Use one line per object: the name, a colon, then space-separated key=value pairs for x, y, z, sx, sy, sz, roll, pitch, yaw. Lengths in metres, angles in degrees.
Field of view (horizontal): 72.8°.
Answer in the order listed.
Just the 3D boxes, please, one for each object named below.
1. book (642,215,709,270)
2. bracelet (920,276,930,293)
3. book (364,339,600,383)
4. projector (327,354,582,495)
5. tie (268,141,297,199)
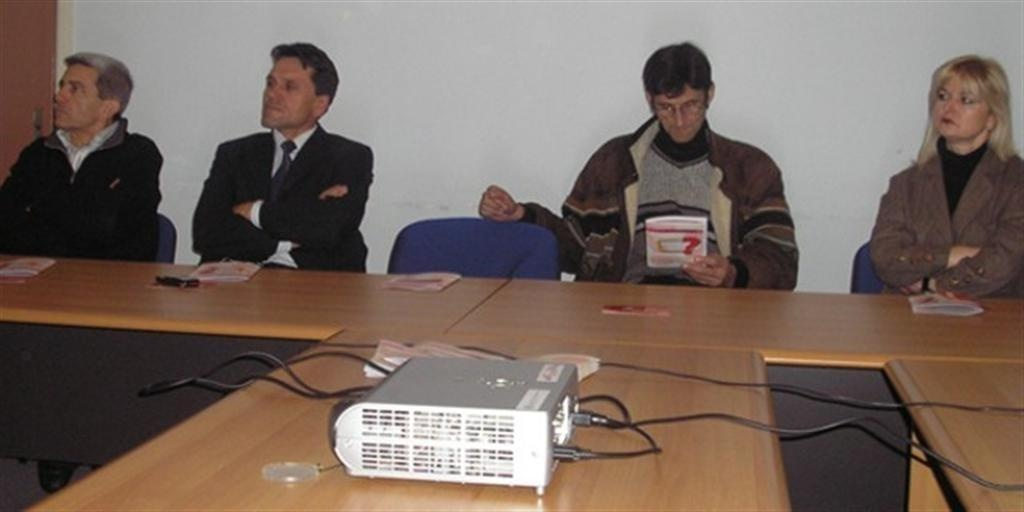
book: x=1.096 y=-0.086 z=4.676 sx=0.412 sy=0.274 sz=0.390 roll=0 pitch=7 yaw=10
bracelet: x=2.707 y=0.194 z=4.591 sx=0.089 sy=0.078 sz=0.023 roll=14 pitch=22 yaw=-43
book: x=-0.142 y=0.377 z=2.617 sx=0.586 sy=0.086 sz=0.305 roll=2 pitch=7 yaw=9
projector: x=-0.184 y=0.528 z=2.263 sx=0.541 sy=0.183 sz=0.457 roll=3 pitch=9 yaw=8
tie: x=-1.673 y=-0.623 z=5.194 sx=0.137 sy=0.519 sz=0.089 roll=20 pitch=2 yaw=-1
